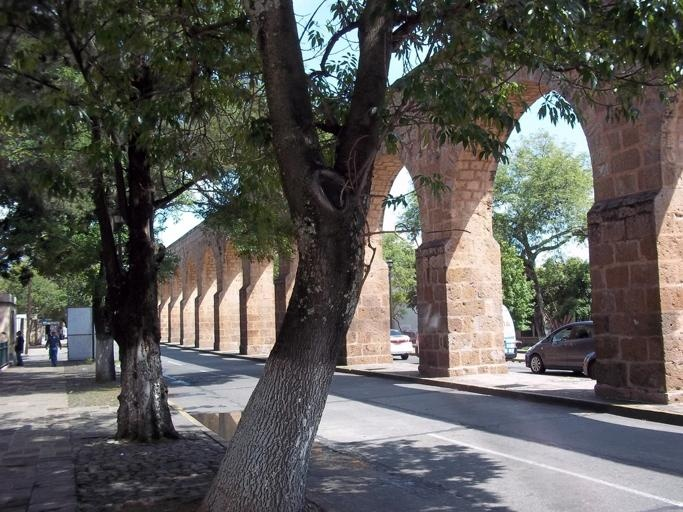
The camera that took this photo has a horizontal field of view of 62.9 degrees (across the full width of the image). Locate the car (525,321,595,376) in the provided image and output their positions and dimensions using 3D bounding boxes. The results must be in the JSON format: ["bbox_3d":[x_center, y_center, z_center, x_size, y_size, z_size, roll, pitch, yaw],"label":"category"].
[{"bbox_3d":[7.321,3.127,18.403,1.729,1.575,3.131,6,-9,-26],"label":"car"}]

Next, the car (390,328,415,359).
[{"bbox_3d":[2.980,4.590,28.363,0.997,1.600,2.343,-2,-5,4],"label":"car"}]
